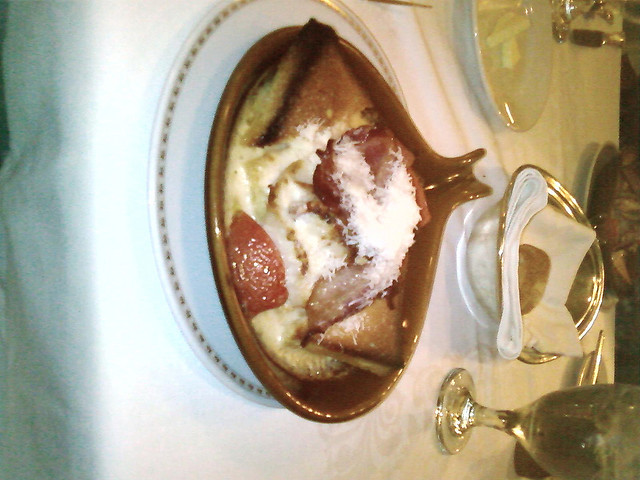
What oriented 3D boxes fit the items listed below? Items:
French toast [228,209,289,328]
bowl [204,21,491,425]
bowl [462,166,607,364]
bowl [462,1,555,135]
[{"bbox_3d":[-0.073,0.031,0.829,0.066,0.086,0.117,-5,55,-8],"label":"French toast"},{"bbox_3d":[-0.003,-0.025,0.856,0.348,0.302,0.431,21,56,10],"label":"bowl"},{"bbox_3d":[0.324,0.040,1.100,0.351,0.135,0.250,-25,86,-49],"label":"bowl"},{"bbox_3d":[0.281,-0.268,1.145,0.162,0.034,0.209,-16,98,-36],"label":"bowl"}]
